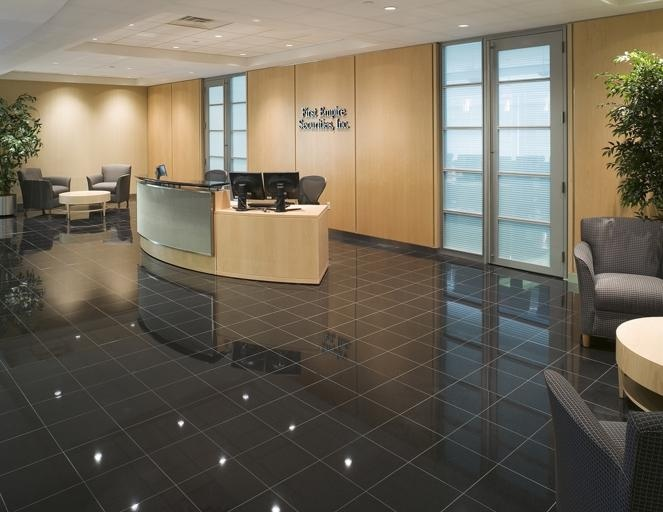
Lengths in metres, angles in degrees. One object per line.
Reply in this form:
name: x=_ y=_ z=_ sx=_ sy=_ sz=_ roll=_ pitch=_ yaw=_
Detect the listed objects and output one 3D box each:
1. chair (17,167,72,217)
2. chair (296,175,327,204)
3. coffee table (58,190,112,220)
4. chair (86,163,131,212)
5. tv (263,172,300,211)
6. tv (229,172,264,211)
chair: x=-8.115 y=-1.904 z=12.622 sx=1.181 sy=1.117 sz=1.091 roll=9 pitch=18 yaw=18
chair: x=-0.379 y=-1.357 z=8.924 sx=0.617 sy=0.781 sz=0.610 roll=2 pitch=8 yaw=14
coffee table: x=-6.662 y=-1.565 z=12.108 sx=1.233 sy=0.542 sz=1.178 roll=-1 pitch=4 yaw=-14
chair: x=-6.892 y=-2.286 z=13.936 sx=1.161 sy=1.164 sz=1.106 roll=5 pitch=15 yaw=6
tv: x=-0.808 y=-1.058 z=7.079 sx=0.663 sy=0.625 sz=0.255 roll=2 pitch=18 yaw=4
tv: x=-1.381 y=-1.072 z=7.075 sx=0.623 sy=0.564 sz=0.255 roll=3 pitch=14 yaw=8
